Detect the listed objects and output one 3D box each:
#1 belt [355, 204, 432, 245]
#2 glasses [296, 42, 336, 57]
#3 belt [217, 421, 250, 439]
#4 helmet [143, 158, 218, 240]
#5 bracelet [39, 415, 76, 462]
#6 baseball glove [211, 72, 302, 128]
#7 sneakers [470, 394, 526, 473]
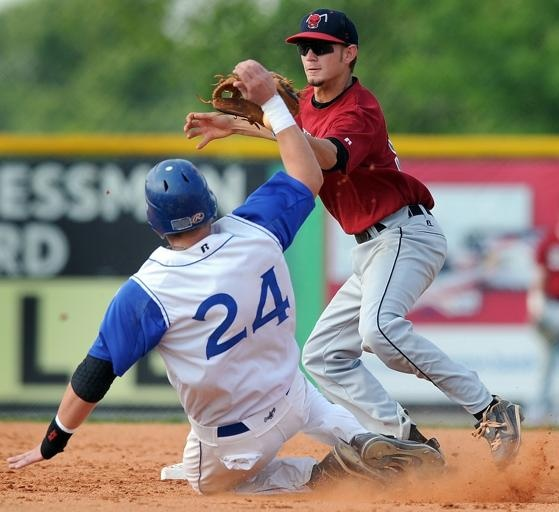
[{"bbox_3d":[0.631,-0.194,5.620,0.309,0.112,0.237,-28,7,6],"label":"belt"},{"bbox_3d":[0.183,-1.148,5.534,0.248,0.096,0.091,0,4,43],"label":"glasses"},{"bbox_3d":[-0.236,0.855,4.907,0.096,0.038,0.098,-8,0,1],"label":"belt"},{"bbox_3d":[-0.492,-0.286,4.864,0.312,0.302,0.381,-23,43,1],"label":"helmet"},{"bbox_3d":[-1.102,0.908,4.897,0.103,0.305,0.091,27,24,-33],"label":"bracelet"},{"bbox_3d":[-0.144,-0.841,5.248,0.385,0.171,0.502,12,-6,22],"label":"baseball glove"},{"bbox_3d":[1.180,0.954,5.395,0.229,0.156,0.423,23,48,-7],"label":"sneakers"}]
